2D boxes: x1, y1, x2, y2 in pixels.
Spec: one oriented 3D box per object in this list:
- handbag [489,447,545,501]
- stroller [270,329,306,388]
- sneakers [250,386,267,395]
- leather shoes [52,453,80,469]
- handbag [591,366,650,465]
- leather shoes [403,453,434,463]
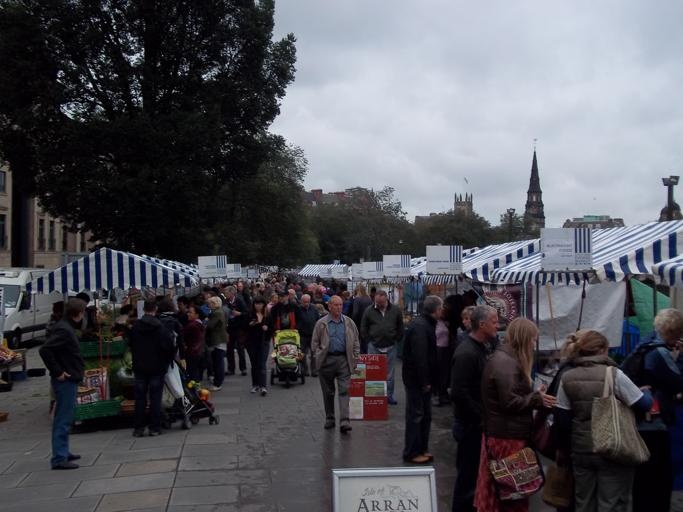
[{"bbox_3d":[1.930,2.440,8.284,0.500,0.448,0.237,-15,-15,-15],"label":"handbag"},{"bbox_3d":[-1.444,2.299,16.371,0.845,1.230,1.279,1,-13,-5],"label":"stroller"},{"bbox_3d":[-1.746,2.827,15.487,0.143,0.175,0.420,-4,-19,20],"label":"sneakers"},{"bbox_3d":[-3.986,3.021,10.792,0.455,0.183,0.143,-8,15,-23],"label":"leather shoes"},{"bbox_3d":[2.990,1.768,8.017,0.409,1.091,0.946,-10,-18,38],"label":"handbag"},{"bbox_3d":[1.132,2.950,10.762,0.456,0.123,0.186,-2,-4,-14],"label":"leather shoes"}]
